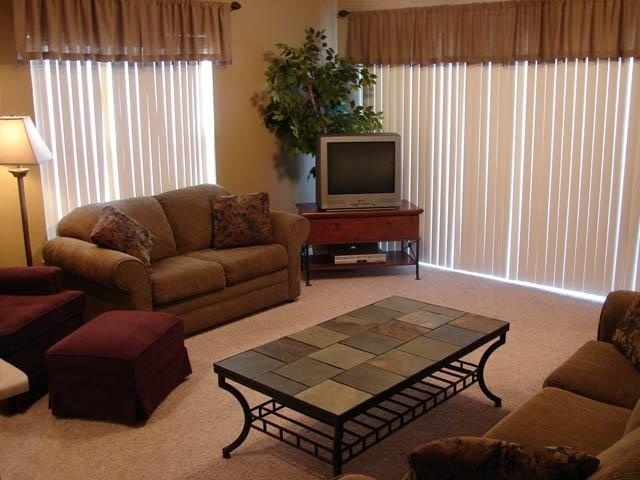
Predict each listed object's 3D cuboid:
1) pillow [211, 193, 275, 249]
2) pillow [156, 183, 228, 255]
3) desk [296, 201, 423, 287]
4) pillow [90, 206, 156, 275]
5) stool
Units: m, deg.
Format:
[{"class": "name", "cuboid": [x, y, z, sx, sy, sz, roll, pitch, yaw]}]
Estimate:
[{"class": "pillow", "cuboid": [-0.710, -0.174, 4.843, 0.490, 0.501, 0.182, -1, -8, -5]}, {"class": "pillow", "cuboid": [-1.176, -0.203, 4.838, 0.569, 0.574, 0.260, -17, -2, -40]}, {"class": "desk", "cuboid": [0.447, 0.016, 5.650, 1.142, 0.738, 0.702, -1, 8, 0]}, {"class": "pillow", "cuboid": [-1.527, -0.021, 4.132, 0.383, 0.416, 0.441, -6, 16, -10]}, {"class": "stool", "cuboid": [-1.225, 0.649, 3.331, 0.650, 0.452, 0.662, 1, 16, 17]}]
